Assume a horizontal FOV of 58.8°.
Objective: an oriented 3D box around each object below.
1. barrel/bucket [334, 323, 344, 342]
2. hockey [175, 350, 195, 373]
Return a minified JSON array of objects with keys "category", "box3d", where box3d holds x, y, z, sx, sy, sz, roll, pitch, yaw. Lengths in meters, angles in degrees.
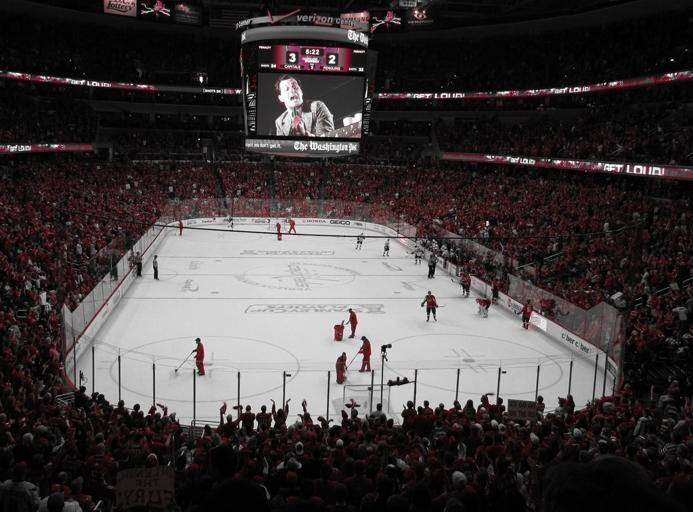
[{"category":"barrel/bucket","box3d":[-0.294,2.976,23.679,0.520,0.674,0.516,0,1,0]},{"category":"hockey","box3d":[-5.493,3.635,20.950,0.058,1.111,0.170,27,-50,4]}]
